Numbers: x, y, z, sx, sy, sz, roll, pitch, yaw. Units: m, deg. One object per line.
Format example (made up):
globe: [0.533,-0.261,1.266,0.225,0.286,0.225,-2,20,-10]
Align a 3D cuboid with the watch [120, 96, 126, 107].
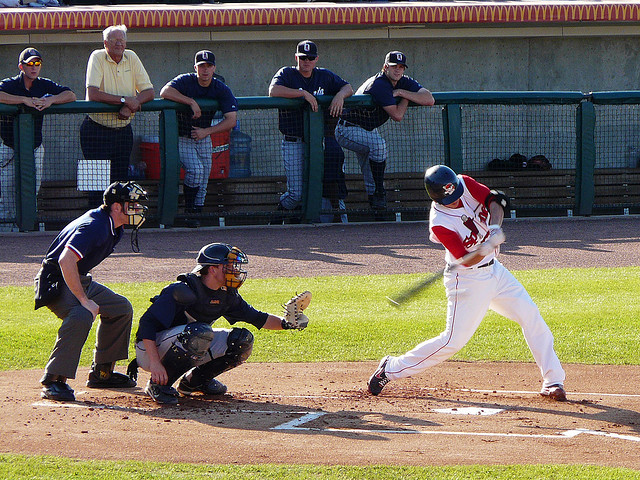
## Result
watch: [-2.539,-1.782,17.971,0.063,0.093,0.098,-4,8,-20]

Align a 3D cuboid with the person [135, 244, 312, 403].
person: [-0.905,0.827,13.746,1.835,1.400,1.169,3,-2,-8]

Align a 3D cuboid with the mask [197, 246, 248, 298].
mask: [-0.978,0.244,13.608,0.524,0.412,0.383,7,2,-1]

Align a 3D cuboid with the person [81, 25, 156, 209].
person: [-2.638,-1.603,18.116,0.926,2.396,0.655,-1,3,-7]

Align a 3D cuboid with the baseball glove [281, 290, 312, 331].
baseball glove: [-0.280,0.694,13.891,0.171,0.479,0.245,23,11,34]

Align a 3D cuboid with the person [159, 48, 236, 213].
person: [-1.623,-1.390,18.248,0.886,2.079,0.671,2,4,44]

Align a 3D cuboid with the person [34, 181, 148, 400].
person: [-2.230,0.500,13.667,0.990,2.112,0.539,-3,3,-36]
